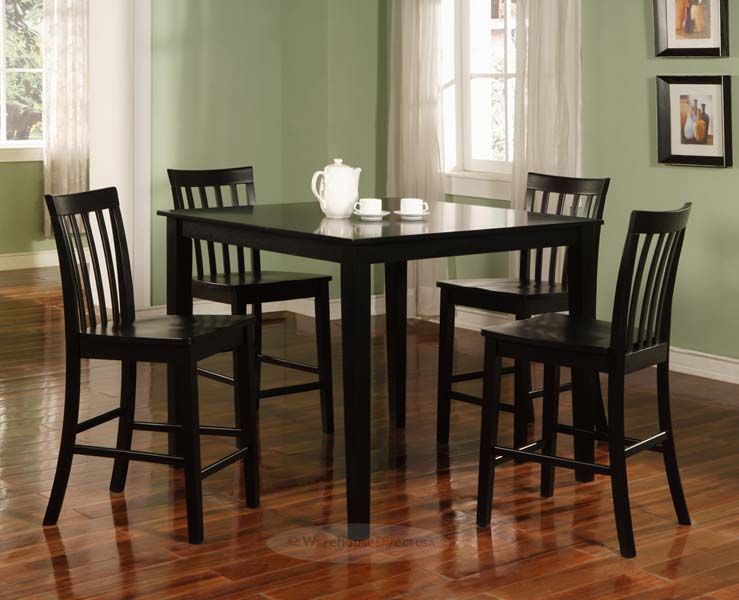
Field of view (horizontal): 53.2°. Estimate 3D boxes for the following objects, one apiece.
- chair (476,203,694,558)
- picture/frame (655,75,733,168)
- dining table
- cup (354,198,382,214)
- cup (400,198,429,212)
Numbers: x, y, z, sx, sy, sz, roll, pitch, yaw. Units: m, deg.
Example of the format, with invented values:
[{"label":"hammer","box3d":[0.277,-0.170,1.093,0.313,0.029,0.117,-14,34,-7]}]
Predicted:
[{"label":"chair","box3d":[0.671,0.205,2.281,0.482,0.951,0.531,-4,7,-41]},{"label":"picture/frame","box3d":[1.687,-0.935,3.835,0.100,0.466,0.409,-6,12,-34]},{"label":"dining table","box3d":[0.021,-0.129,2.694,1.269,1.088,1.448,-2,7,-35]},{"label":"cup","box3d":[-0.005,-0.318,2.535,0.086,0.058,0.065,-1,5,-5]},{"label":"cup","box3d":[0.162,-0.332,2.572,0.097,0.053,0.071,-6,10,-28]}]
